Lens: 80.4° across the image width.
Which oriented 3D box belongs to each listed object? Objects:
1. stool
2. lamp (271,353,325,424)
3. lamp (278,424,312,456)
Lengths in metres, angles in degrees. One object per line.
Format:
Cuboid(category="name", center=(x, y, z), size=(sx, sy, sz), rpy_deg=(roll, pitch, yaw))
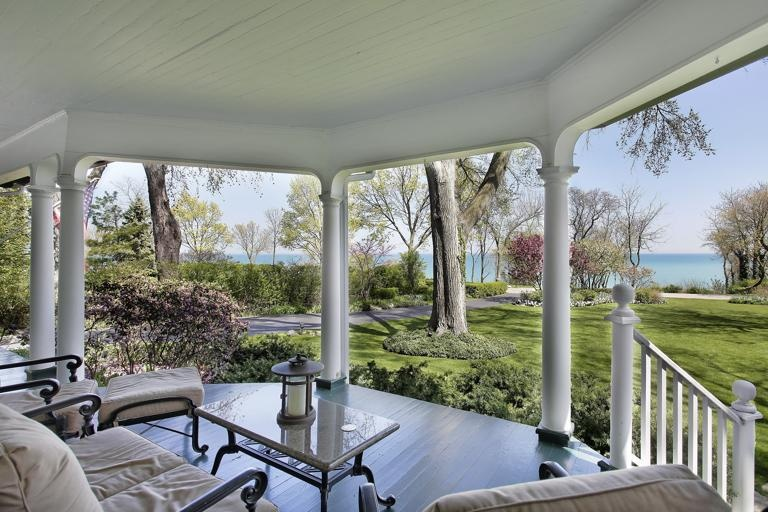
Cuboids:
Cuboid(category="stool", center=(-2.464, 1.652, 4.859), size=(0.949, 0.621, 1.308), rpy_deg=(-1, -2, -29))
Cuboid(category="lamp", center=(-0.803, 1.240, 4.209), size=(0.500, 0.522, 0.497), rpy_deg=(-2, -6, 22))
Cuboid(category="lamp", center=(-0.751, 1.562, 3.859), size=(0.178, 0.179, 0.172), rpy_deg=(0, 1, -5))
